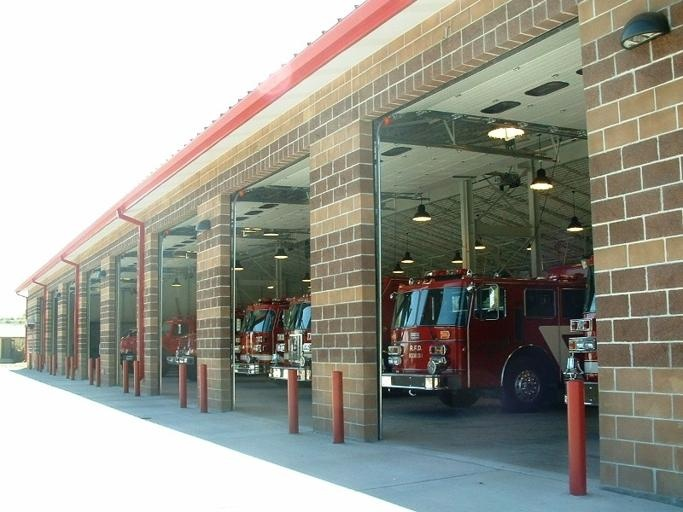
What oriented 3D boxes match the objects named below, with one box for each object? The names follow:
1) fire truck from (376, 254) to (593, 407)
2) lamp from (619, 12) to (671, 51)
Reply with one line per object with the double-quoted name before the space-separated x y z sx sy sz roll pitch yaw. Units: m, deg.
"fire truck" 4.473 2.074 16.018 7.699 2.382 3.482 4 -4 -31
"lamp" 3.065 -2.271 6.494 0.400 0.250 0.480 15 -15 -10
